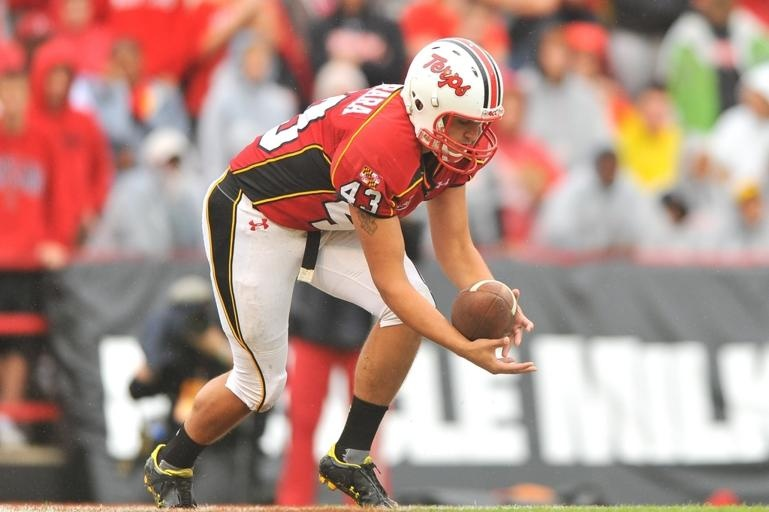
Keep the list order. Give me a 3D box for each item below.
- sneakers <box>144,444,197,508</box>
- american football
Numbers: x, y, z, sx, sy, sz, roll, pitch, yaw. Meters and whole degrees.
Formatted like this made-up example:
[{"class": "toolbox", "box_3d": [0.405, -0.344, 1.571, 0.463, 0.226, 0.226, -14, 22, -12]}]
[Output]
[{"class": "sneakers", "box_3d": [-1.181, 1.352, 6.605, 0.166, 0.499, 0.215, -18, 9, 2]}, {"class": "american football", "box_3d": [0.541, 0.279, 6.266, 0.264, 0.347, 0.307, 15, 22, 6]}]
